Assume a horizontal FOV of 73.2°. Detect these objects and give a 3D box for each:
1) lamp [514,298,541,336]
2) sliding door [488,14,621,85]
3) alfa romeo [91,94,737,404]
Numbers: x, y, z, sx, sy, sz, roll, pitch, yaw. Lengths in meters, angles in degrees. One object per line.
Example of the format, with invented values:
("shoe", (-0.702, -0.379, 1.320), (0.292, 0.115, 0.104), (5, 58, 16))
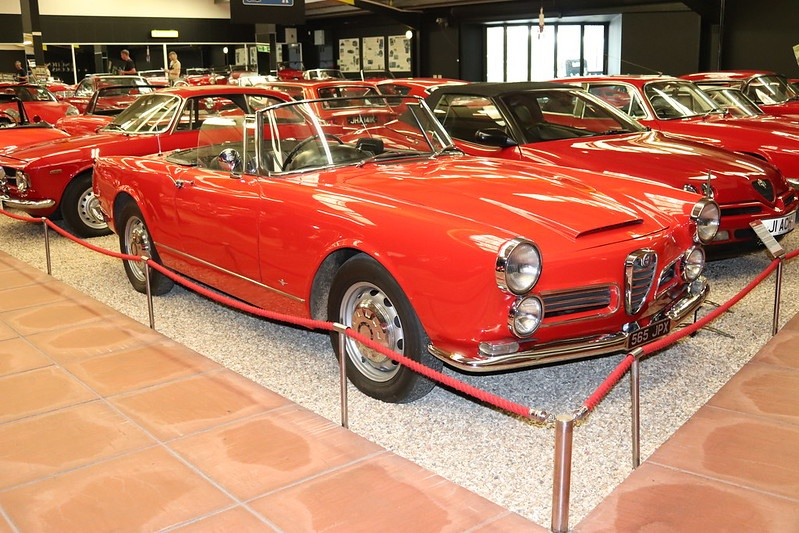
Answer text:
("lamp", (0.754, 0.297, 3.206), (0.204, 0.241, 0.050), (-11, 23, -27))
("sliding door", (6.718, -9.996, 24.537), (5.566, 2.551, 1.205), (13, 25, 39))
("alfa romeo", (-0.485, -0.365, 4.769), (4.891, 1.264, 2.632), (10, 18, 39))
